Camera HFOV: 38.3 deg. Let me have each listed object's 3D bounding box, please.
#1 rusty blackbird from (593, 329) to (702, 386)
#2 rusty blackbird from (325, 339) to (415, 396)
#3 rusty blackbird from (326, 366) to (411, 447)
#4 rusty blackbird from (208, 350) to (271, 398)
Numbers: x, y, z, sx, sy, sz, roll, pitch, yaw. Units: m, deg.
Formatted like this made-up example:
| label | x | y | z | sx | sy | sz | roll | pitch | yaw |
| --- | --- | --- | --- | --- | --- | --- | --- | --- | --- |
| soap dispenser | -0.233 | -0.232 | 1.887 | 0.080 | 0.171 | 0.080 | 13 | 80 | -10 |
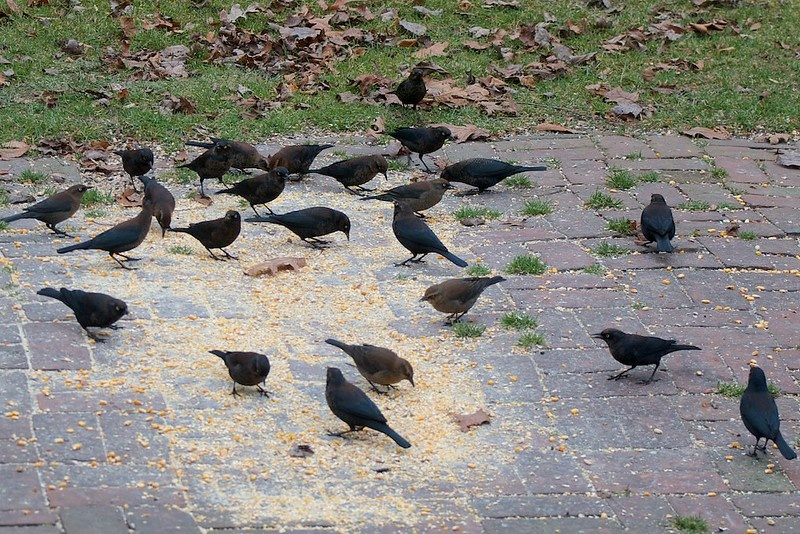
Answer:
| label | x | y | z | sx | sy | sz | roll | pitch | yaw |
| --- | --- | --- | --- | --- | --- | --- | --- | --- | --- |
| rusty blackbird | 2.325 | 0.884 | 11.673 | 1.363 | 0.490 | 0.423 | -4 | 18 | 6 |
| rusty blackbird | -0.280 | 0.938 | 11.754 | 1.192 | 0.385 | 0.385 | 30 | 37 | 31 |
| rusty blackbird | -0.424 | 1.388 | 11.083 | 1.093 | 0.580 | 0.412 | 28 | 40 | 31 |
| rusty blackbird | -1.561 | 0.983 | 11.475 | 0.444 | 0.469 | 0.510 | -8 | 36 | -20 |
